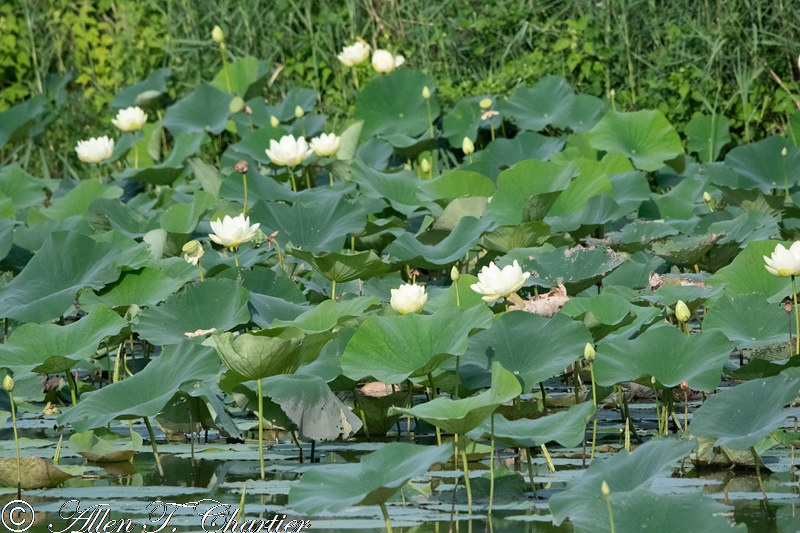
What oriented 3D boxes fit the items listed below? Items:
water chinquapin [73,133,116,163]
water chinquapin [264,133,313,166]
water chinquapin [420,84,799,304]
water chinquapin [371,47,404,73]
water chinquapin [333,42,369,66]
[{"bbox_3d":[-2.201,-0.829,8.151,0.232,0.217,0.184,-21,29,-22],"label":"water chinquapin"},{"bbox_3d":[-0.744,-0.732,7.439,0.285,0.174,0.298,2,-9,-44],"label":"water chinquapin"},{"bbox_3d":[1.459,-0.586,7.415,1.586,0.621,1.482,-16,23,-13],"label":"water chinquapin"},{"bbox_3d":[-0.095,-1.543,8.569,0.177,0.119,0.239,41,33,27],"label":"water chinquapin"},{"bbox_3d":[-0.336,-1.624,8.606,0.261,0.131,0.217,-36,33,-15],"label":"water chinquapin"}]
